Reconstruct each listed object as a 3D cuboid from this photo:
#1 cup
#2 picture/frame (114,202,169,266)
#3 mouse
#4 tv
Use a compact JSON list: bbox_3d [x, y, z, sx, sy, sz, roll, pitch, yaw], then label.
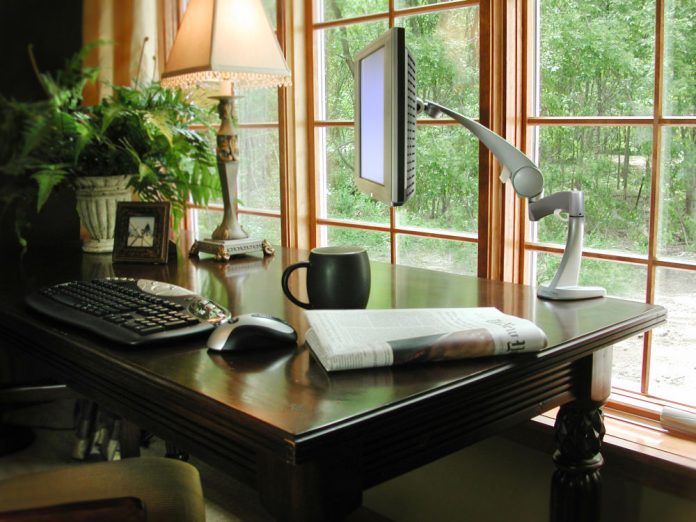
[{"bbox_3d":[-0.029,0.030,1.064,0.157,0.112,0.101,-2,-5,23],"label":"cup"},{"bbox_3d":[-0.567,-0.069,1.578,0.165,0.181,0.025,1,-10,5],"label":"picture/frame"},{"bbox_3d":[-0.168,0.107,0.955,0.116,0.040,0.068,-4,10,-22],"label":"mouse"},{"bbox_3d":[0.171,-0.205,1.452,0.638,0.638,0.557,0,6,-7],"label":"tv"}]
